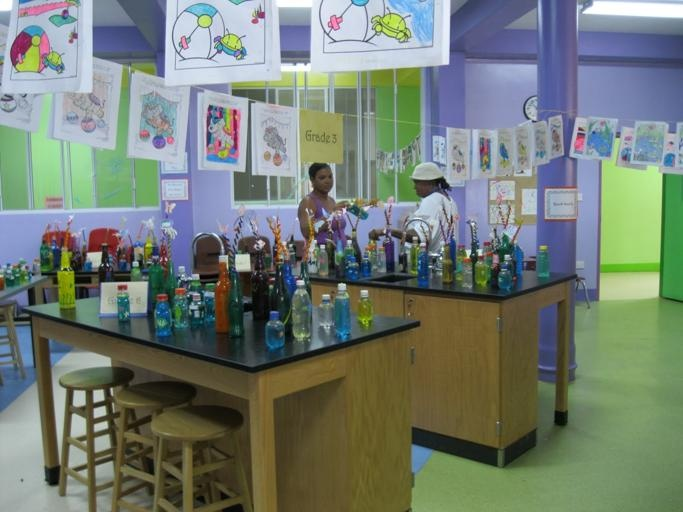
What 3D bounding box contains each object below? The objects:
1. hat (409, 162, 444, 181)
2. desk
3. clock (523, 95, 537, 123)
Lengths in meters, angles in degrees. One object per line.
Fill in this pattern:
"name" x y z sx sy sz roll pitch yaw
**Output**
"hat" 0.723 -0.768 4.944 0.182 0.110 0.237 -10 17 -41
"desk" 1.138 0.679 4.505 1.422 0.995 1.450 1 2 39
"clock" 2.987 -2.330 8.882 0.218 0.370 0.289 -1 12 -2
